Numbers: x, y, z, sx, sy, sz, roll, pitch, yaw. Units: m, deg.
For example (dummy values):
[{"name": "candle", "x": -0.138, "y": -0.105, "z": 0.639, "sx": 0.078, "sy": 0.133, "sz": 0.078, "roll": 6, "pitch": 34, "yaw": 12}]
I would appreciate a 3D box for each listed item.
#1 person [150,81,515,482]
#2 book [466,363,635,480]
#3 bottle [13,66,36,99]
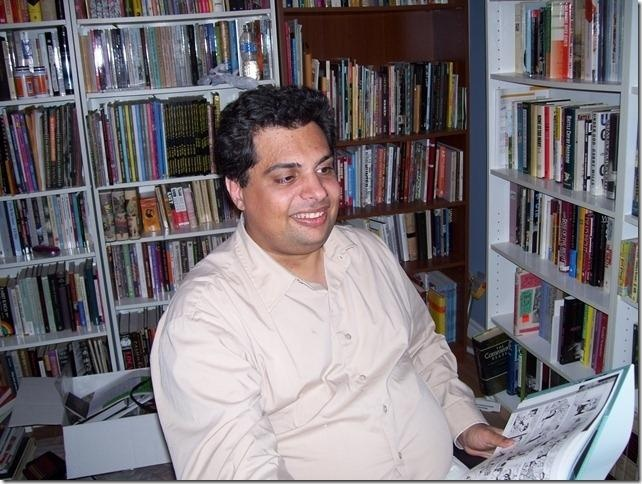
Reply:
[{"name": "person", "x": -0.016, "y": 0.152, "z": 1.420, "sx": 0.960, "sy": 1.217, "sz": 0.579, "roll": -11, "pitch": 12, "yaw": -21}, {"name": "book", "x": 0.595, "y": 0.453, "z": 1.246, "sx": 0.323, "sy": 0.277, "sz": 0.357, "roll": 5, "pitch": 16, "yaw": 44}, {"name": "bottle", "x": -1.603, "y": -0.866, "z": 2.629, "sx": 0.098, "sy": 0.155, "sz": 0.031, "roll": -12, "pitch": 12, "yaw": -26}]
